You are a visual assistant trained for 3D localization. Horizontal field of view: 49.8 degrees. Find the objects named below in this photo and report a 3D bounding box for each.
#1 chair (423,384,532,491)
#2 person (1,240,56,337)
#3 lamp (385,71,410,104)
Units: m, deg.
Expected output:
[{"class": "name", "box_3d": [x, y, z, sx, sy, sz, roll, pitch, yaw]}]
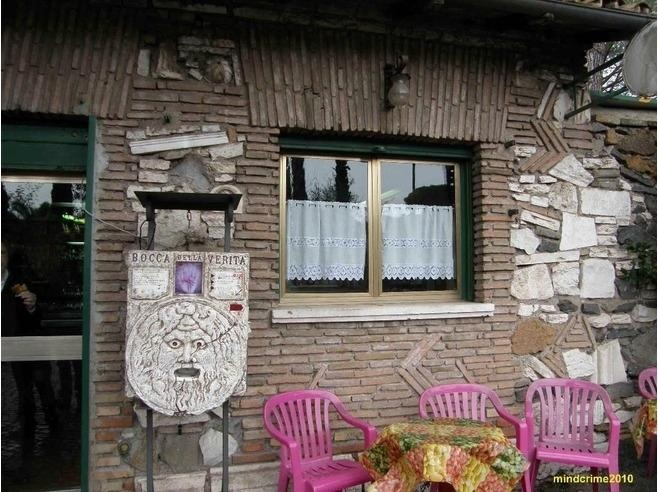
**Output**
[{"class": "chair", "box_3d": [1.309, 1.854, 6.796, 0.916, 1.329, 0.914, 1, -12, -2]}, {"class": "person", "box_3d": [-2.868, 0.445, 6.629, 0.489, 0.777, 0.168, -3, -4, -5]}, {"class": "lamp", "box_3d": [0.649, -1.456, 6.755, 0.257, 0.335, 0.268, 2, -6, -17]}]
